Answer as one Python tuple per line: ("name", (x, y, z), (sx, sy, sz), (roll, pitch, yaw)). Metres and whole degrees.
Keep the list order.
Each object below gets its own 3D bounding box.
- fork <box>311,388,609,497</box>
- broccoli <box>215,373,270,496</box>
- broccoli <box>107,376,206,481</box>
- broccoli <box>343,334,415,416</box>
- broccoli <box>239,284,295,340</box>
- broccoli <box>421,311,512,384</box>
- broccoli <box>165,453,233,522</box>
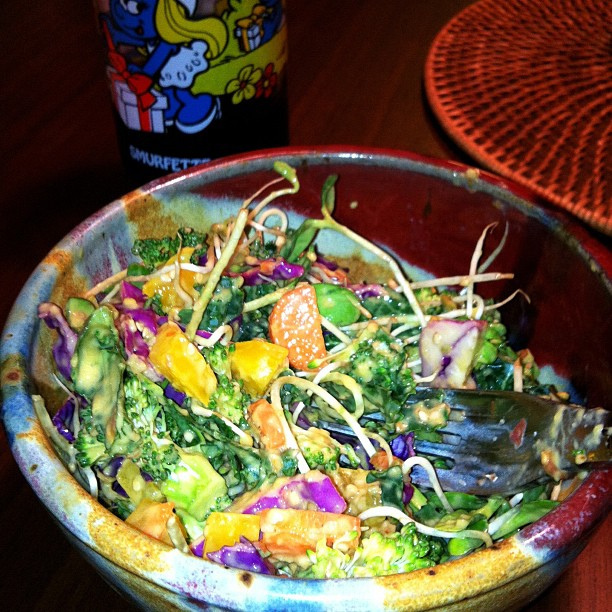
("fork", (0.085, 0.116, 0.627), (0.370, 0.057, 0.065), (1, 92, 42))
("broccoli", (-0.053, 0.109, 0.533), (0.052, 0.019, 0.078), (3, 88, 6))
("broccoli", (-0.140, 0.111, 0.592), (0.070, 0.027, 0.090), (-35, 84, -35))
("broccoli", (0.070, 0.060, 0.596), (0.064, 0.026, 0.067), (-31, 83, 16))
("broccoli", (-0.035, 0.005, 0.668), (0.060, 0.018, 0.052), (1, 86, -3))
("broccoli", (0.144, 0.046, 0.622), (0.080, 0.022, 0.066), (-1, 110, -8))
("broccoli", (-0.089, 0.149, 0.539), (0.062, 0.022, 0.045), (39, 72, -17))
